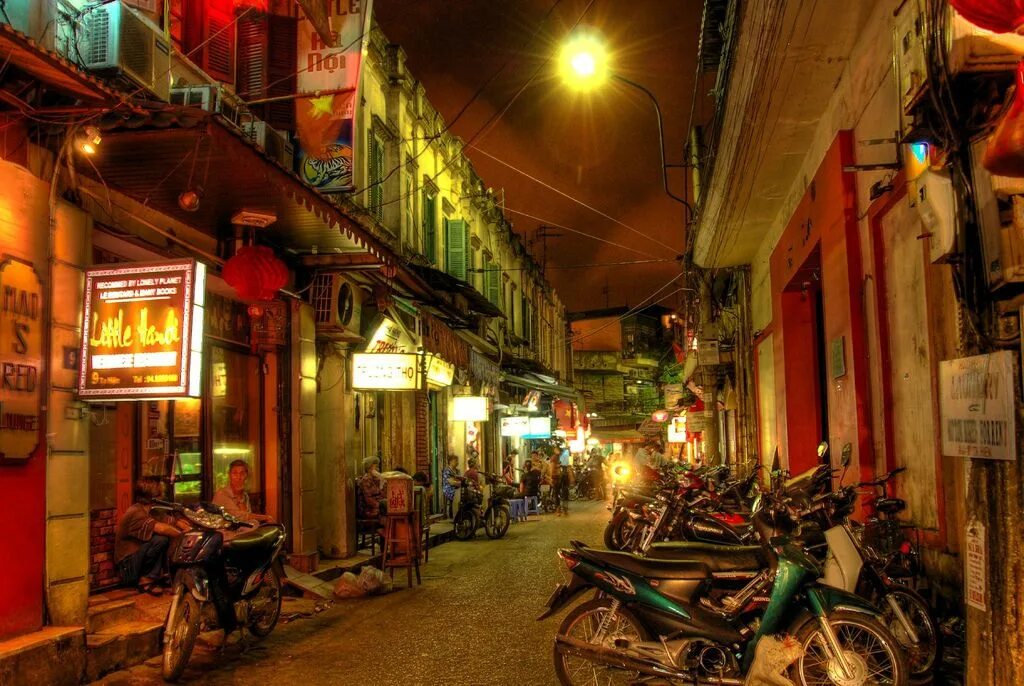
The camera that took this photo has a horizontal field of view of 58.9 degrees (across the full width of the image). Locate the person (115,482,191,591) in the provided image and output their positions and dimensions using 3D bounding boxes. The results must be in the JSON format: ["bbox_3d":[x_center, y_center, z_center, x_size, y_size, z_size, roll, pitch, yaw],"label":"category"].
[{"bbox_3d":[-3.988,2.136,10.339,0.860,1.237,0.791,-4,0,10],"label":"person"}]

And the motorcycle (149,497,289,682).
[{"bbox_3d":[-3.153,2.620,9.854,0.739,1.731,1.745,-4,-12,9],"label":"motorcycle"}]

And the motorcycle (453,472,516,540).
[{"bbox_3d":[-0.750,3.479,20.117,1.670,1.105,0.731,21,-17,-39],"label":"motorcycle"}]

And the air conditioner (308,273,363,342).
[{"bbox_3d":[-3.026,-0.629,15.814,0.537,0.968,1.607,2,-4,4],"label":"air conditioner"}]

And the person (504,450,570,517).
[{"bbox_3d":[0.680,4.187,26.527,1.126,1.440,2.260,-6,-10,27],"label":"person"}]

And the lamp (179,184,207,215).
[{"bbox_3d":[-3.796,-1.712,10.720,0.378,0.407,0.375,4,13,-10],"label":"lamp"}]

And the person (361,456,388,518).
[{"bbox_3d":[-2.433,2.473,15.827,0.372,1.077,1.239,0,-12,-10],"label":"person"}]

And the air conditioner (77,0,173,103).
[{"bbox_3d":[-4.522,-3.573,10.801,0.460,1.153,1.216,-5,-12,13],"label":"air conditioner"}]
